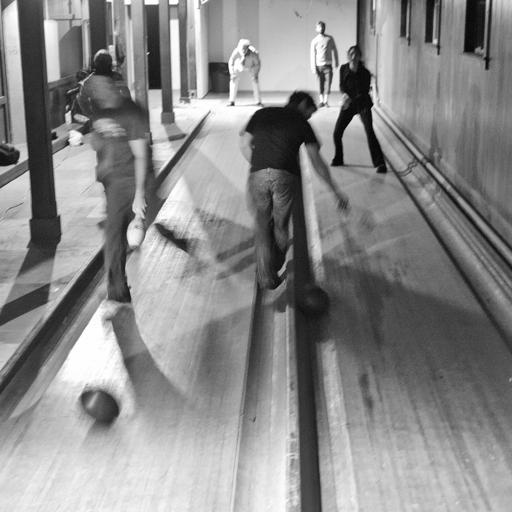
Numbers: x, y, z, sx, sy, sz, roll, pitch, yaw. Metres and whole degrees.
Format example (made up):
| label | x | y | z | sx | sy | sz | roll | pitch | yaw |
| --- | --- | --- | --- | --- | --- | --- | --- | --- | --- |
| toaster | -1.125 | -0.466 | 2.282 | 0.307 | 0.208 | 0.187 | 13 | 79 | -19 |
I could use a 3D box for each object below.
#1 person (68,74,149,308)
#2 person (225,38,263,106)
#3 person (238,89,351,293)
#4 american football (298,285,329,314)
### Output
| label | x | y | z | sx | sy | sz | roll | pitch | yaw |
| --- | --- | --- | --- | --- | --- | --- | --- | --- | --- |
| person | -1.103 | -0.528 | 3.065 | 0.472 | 1.812 | 0.306 | -3 | 10 | -16 |
| person | -0.533 | -7.789 | 15.993 | 1.334 | 1.214 | 3.125 | -2 | -28 | -1 |
| person | 0.220 | -0.564 | 3.445 | 0.731 | 1.552 | 0.375 | -1 | 10 | -4 |
| american football | 0.489 | 0.323 | 3.231 | 0.266 | 0.214 | 0.201 | 3 | 11 | 12 |
